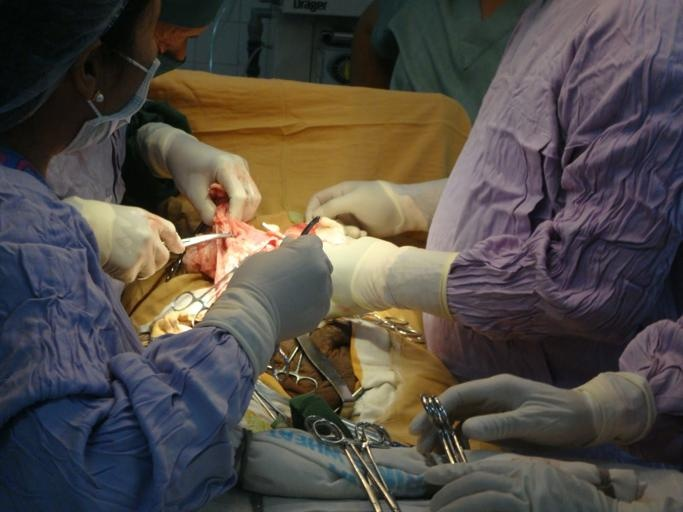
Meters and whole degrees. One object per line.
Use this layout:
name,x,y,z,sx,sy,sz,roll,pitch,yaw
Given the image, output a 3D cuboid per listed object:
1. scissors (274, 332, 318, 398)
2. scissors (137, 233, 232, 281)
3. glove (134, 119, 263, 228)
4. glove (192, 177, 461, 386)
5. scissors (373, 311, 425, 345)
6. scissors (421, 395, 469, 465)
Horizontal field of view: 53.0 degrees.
scissors,-0.161,0.379,2.381,0.112,0.218,0.051,-4,-28,-1
scissors,-0.516,-0.043,2.355,0.319,0.062,0.037,-21,-30,-32
glove,-0.553,-0.355,2.794,0.513,0.313,0.226,32,13,-4
glove,-0.054,0.078,2.041,0.609,0.222,0.628,10,32,25
scissors,0.233,0.276,2.677,0.139,0.044,0.140,24,11,-28
scissors,0.283,0.476,1.897,0.024,0.170,0.068,-27,-21,-7
